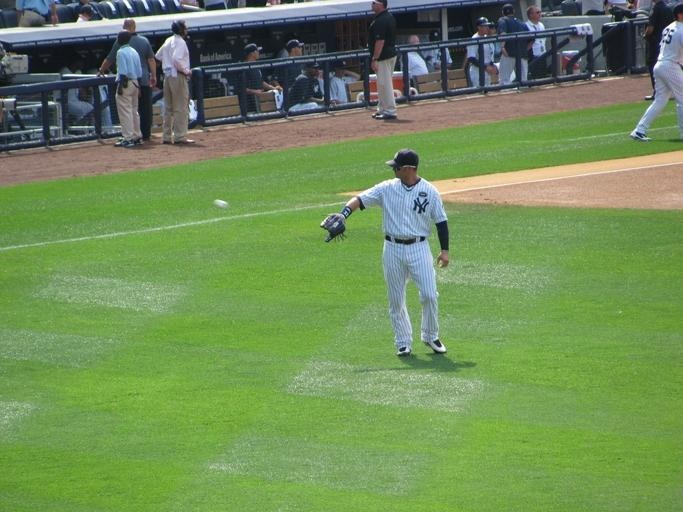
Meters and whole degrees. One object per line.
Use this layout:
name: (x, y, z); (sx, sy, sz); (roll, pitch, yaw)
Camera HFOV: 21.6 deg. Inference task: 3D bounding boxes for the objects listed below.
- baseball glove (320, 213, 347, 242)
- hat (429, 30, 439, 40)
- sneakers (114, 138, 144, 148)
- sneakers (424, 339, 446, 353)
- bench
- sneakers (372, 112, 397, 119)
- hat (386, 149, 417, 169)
baseball glove: (-0.082, -0.362, 22.494); (0.291, 0.386, 0.681); (-5, 9, 0)
hat: (2.224, -5.240, 42.485); (0.266, 0.209, 0.062); (7, 1, 32)
sneakers: (-3.944, -2.098, 33.279); (0.617, 0.216, 0.187); (2, 12, 6)
sneakers: (1.232, 1.141, 22.529); (0.328, 0.115, 0.124); (21, 29, 29)
bench: (-0.870, -3.405, 36.343); (6.272, 1.239, 1.094); (-10, 11, -35)
sneakers: (0.847, -2.779, 35.342); (0.505, 0.169, 0.165); (5, 4, 26)
hat: (0.778, -1.211, 22.302); (0.368, 0.250, 0.420); (-3, 9, 4)
